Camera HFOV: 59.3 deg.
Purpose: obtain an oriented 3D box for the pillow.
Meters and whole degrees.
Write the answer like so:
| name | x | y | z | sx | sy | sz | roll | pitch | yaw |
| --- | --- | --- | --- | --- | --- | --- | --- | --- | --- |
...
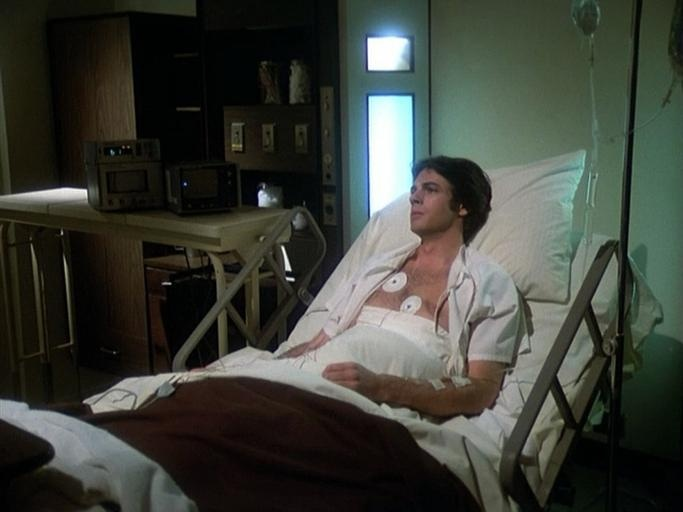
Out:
| name | x | y | z | sx | sy | sz | roll | pitch | yaw |
| --- | --- | --- | --- | --- | --- | --- | --- | --- | --- |
| pillow | 0.502 | -0.090 | 2.481 | 0.797 | 0.251 | 0.825 | -12 | 35 | 34 |

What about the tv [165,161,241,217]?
| name | x | y | z | sx | sy | sz | roll | pitch | yaw |
| --- | --- | --- | --- | --- | --- | --- | --- | --- | --- |
| tv | -0.620 | -0.329 | 2.736 | 0.308 | 0.258 | 0.229 | -7 | 12 | -33 |

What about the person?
| name | x | y | z | sx | sy | sz | roll | pitch | yaw |
| --- | --- | --- | --- | --- | --- | --- | --- | --- | --- |
| person | 0.276 | 0.073 | 2.182 | 0.698 | 0.862 | 0.606 | 0 | 8 | -3 |
